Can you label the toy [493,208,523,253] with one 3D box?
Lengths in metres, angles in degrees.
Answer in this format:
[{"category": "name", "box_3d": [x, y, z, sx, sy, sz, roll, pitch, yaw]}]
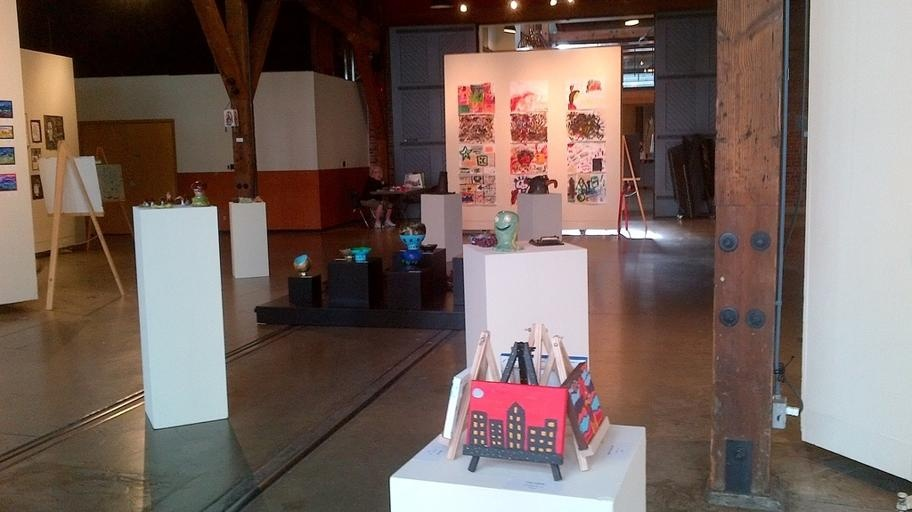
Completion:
[{"category": "toy", "box_3d": [0.461, -0.225, 5.584, 0.279, 0.364, 0.267, -1, 3, 36]}]
